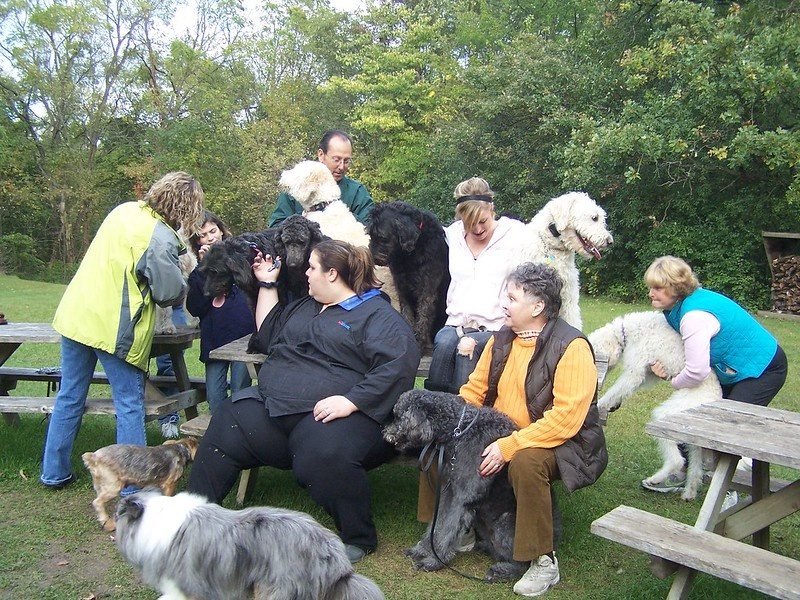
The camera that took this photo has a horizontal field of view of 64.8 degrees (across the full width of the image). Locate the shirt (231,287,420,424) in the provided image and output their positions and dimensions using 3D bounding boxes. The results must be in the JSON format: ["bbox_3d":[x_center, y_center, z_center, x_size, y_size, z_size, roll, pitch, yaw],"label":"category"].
[{"bbox_3d":[-0.428,0.492,5.086,1.570,1.100,0.965,11,-9,39],"label":"shirt"}]

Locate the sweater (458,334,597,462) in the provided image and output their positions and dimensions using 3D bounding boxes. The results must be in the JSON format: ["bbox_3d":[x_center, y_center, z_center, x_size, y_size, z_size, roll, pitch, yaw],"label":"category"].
[{"bbox_3d":[0.952,0.646,4.652,0.821,0.815,1.081,-7,13,-31],"label":"sweater"}]

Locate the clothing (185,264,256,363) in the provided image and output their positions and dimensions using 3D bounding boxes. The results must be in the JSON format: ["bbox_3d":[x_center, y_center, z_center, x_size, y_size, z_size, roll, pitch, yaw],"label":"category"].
[{"bbox_3d":[-1.859,0.069,6.612,0.560,1.060,0.777,21,22,38],"label":"clothing"}]

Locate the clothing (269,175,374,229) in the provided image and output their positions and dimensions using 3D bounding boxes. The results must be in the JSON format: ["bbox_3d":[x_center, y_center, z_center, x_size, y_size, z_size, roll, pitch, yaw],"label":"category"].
[{"bbox_3d":[-0.725,-0.943,7.018,0.472,0.961,0.297,25,-43,0],"label":"clothing"}]

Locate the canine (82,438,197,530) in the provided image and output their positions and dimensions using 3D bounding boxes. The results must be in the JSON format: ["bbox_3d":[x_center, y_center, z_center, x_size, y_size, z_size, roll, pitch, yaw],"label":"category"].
[{"bbox_3d":[-1.998,1.434,4.997,0.890,0.633,0.289,5,-5,-37],"label":"canine"}]

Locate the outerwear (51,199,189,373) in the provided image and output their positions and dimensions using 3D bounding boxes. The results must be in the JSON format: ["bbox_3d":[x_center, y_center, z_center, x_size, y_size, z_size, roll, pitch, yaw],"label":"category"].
[{"bbox_3d":[-2.434,-0.184,5.605,0.975,1.326,0.915,20,13,42],"label":"outerwear"}]

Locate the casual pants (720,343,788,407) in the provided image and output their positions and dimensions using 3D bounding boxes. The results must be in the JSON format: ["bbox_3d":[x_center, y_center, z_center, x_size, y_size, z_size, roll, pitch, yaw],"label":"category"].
[{"bbox_3d":[3.003,0.658,5.329,0.467,0.489,0.196,-1,12,-7],"label":"casual pants"}]

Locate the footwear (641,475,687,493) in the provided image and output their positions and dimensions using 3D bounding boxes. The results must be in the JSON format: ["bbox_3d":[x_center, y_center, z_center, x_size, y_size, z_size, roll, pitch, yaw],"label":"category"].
[{"bbox_3d":[2.411,1.678,5.776,0.432,0.174,0.154,4,-5,-14],"label":"footwear"}]

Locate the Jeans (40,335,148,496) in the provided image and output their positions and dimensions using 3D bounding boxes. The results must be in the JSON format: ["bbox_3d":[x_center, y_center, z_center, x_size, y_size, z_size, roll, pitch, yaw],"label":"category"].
[{"bbox_3d":[-2.680,0.830,5.579,0.821,1.756,0.442,15,33,-11],"label":"Jeans"}]

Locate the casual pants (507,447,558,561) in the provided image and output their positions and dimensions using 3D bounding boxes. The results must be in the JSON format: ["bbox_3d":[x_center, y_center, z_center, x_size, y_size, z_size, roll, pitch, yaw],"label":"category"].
[{"bbox_3d":[0.930,1.444,4.389,0.354,0.810,0.278,-1,12,-4],"label":"casual pants"}]

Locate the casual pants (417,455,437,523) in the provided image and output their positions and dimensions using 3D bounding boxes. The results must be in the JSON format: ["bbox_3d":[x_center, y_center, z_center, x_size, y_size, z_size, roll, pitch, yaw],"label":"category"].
[{"bbox_3d":[0.208,1.361,4.803,0.052,0.251,0.137,-25,-10,16],"label":"casual pants"}]

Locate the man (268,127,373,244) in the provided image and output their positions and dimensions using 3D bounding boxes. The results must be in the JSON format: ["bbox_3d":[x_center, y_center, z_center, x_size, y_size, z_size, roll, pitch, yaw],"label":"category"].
[{"bbox_3d":[-0.862,-1.454,7.576,0.501,0.877,1.527,-7,-35,-22],"label":"man"}]

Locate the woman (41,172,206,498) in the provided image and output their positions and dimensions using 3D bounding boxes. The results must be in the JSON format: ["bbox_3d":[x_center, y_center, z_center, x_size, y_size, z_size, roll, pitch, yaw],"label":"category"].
[{"bbox_3d":[-2.468,0.297,5.704,1.271,2.901,1.165,4,4,-30],"label":"woman"}]
